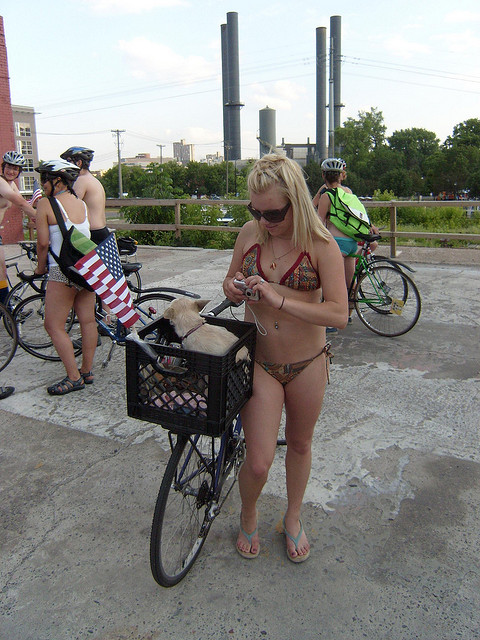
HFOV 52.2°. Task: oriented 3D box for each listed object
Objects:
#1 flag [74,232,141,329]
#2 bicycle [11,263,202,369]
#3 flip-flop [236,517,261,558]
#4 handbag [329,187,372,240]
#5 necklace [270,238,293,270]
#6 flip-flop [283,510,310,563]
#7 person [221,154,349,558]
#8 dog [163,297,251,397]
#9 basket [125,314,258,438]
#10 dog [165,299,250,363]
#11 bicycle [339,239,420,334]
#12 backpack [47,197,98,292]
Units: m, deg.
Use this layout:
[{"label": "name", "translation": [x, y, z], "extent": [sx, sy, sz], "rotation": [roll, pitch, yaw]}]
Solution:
[{"label": "flag", "translation": [-1.006, -0.295, 3.592], "extent": [0.374, 0.621, 0.811], "rotation": [-6, 13, -18]}, {"label": "bicycle", "translation": [-1.307, -0.079, 4.825], "extent": [1.845, 1.091, 0.761], "rotation": [1, 19, 5]}, {"label": "flip-flop", "translation": [0.039, 1.019, 2.287], "extent": [0.114, 0.147, 0.088], "rotation": [-2, 12, -2]}, {"label": "handbag", "translation": [1.214, -1.168, 5.370], "extent": [0.472, 0.534, 0.305], "rotation": [4, -9, -41]}, {"label": "necklace", "translation": [0.178, -0.280, 2.083], "extent": [0.107, 0.124, 0.016], "rotation": [25, 6, 22]}, {"label": "flip-flop", "translation": [0.264, 1.004, 2.323], "extent": [0.102, 0.051, 0.295], "rotation": [-10, 21, 1]}, {"label": "person", "translation": [0.216, 0.196, 2.186], "extent": [0.562, 1.787, 0.503], "rotation": [-2, 12, -2]}, {"label": "dog", "translation": [-0.141, 0.095, 2.024], "extent": [0.177, 0.310, 0.430], "rotation": [-29, 36, -36]}, {"label": "basket", "translation": [-0.185, 0.254, 1.961], "extent": [0.486, 0.347, 0.489], "rotation": [13, 22, 21]}, {"label": "dog", "translation": [-0.147, 0.012, 2.005], "extent": [0.206, 0.175, 0.335], "rotation": [-10, 15, -33]}, {"label": "bicycle", "translation": [1.520, -0.592, 5.920], "extent": [0.814, 1.031, 1.690], "rotation": [-2, -1, 10]}, {"label": "backpack", "translation": [-1.363, -0.661, 4.038], "extent": [0.420, 0.629, 0.688], "rotation": [-11, 11, -39]}]
